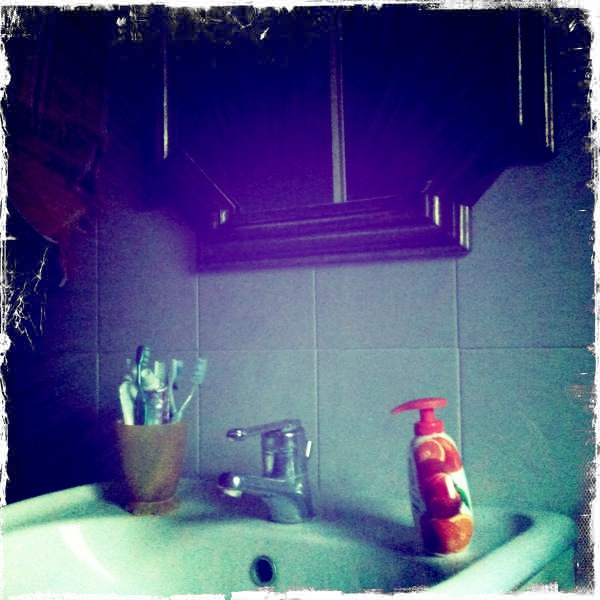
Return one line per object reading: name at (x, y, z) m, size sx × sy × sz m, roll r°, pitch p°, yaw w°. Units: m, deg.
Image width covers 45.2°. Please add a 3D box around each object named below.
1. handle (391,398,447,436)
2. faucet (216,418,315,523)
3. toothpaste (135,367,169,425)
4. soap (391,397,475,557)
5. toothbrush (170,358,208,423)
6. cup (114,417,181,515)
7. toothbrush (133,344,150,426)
handle at (0.175, 0.175, 1.058) m, size 0.075 × 0.054 × 0.058 m, roll 3°, pitch -5°, yaw -27°
faucet at (-0.036, 0.255, 1.166) m, size 0.135 × 0.163 × 0.138 m, roll 1°, pitch -3°, yaw 26°
toothpaste at (-0.256, 0.170, 1.236) m, size 0.057 × 0.128 × 0.056 m, roll 29°, pitch 45°, yaw 18°
soap at (0.210, 0.250, 1.052) m, size 0.115 × 0.213 × 0.125 m, roll -8°, pitch 12°, yaw -4°
toothbrush at (-0.196, 0.154, 1.282) m, size 0.062 × 0.118 × 0.048 m, roll -1°, pitch 2°, yaw -37°
cup at (-0.265, 0.285, 1.228) m, size 0.135 × 0.147 × 0.132 m, roll -2°, pitch -1°, yaw 0°
toothbrush at (-0.265, 0.148, 1.217) m, size 0.036 × 0.141 × 0.034 m, roll -2°, pitch 2°, yaw 9°
